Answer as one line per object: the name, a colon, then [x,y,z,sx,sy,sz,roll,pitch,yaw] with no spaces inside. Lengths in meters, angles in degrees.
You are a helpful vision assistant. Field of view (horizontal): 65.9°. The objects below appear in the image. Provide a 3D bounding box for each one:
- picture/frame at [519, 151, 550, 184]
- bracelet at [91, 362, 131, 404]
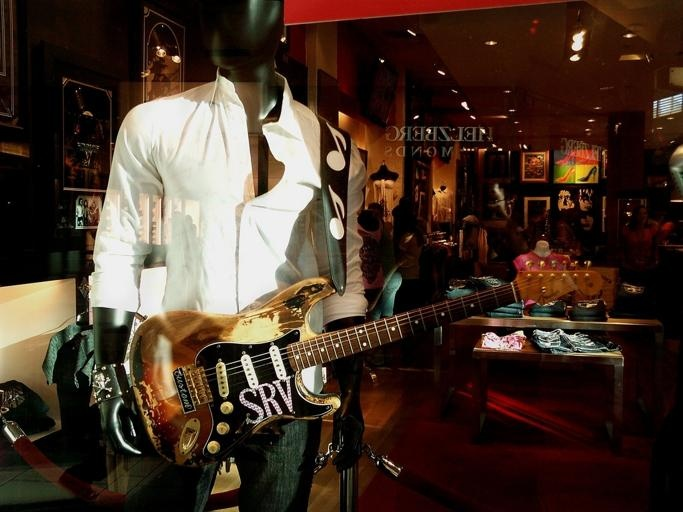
picture/frame: [0.543,-0.254,1.475,0.083,0.101,0.008,1,5,5]
bracelet: [-0.642,0.346,1.464,0.103,0.111,0.032,-7,-1,6]
